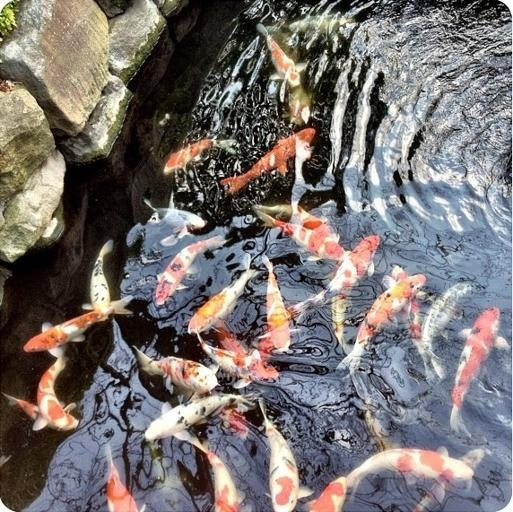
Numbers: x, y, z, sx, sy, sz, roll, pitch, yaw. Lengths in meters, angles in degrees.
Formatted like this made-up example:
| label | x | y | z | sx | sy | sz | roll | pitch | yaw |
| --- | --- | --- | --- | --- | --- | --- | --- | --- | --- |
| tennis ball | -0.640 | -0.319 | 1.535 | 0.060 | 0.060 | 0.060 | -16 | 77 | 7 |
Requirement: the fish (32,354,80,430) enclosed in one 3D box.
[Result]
| label | x | y | z | sx | sy | sz | roll | pitch | yaw |
| --- | --- | --- | --- | --- | --- | --- | --- | --- | --- |
| fish | -1.869 | 1.313 | 6.554 | 0.356 | 0.252 | 0.740 | 4 | 34 | -36 |

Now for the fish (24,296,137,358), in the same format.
| label | x | y | z | sx | sy | sz | roll | pitch | yaw |
| --- | --- | --- | --- | --- | --- | --- | --- | --- | --- |
| fish | -1.639 | 0.653 | 6.808 | 1.032 | 0.307 | 0.383 | -24 | 56 | -21 |

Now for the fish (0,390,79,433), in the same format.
| label | x | y | z | sx | sy | sz | roll | pitch | yaw |
| --- | --- | --- | --- | --- | --- | --- | --- | --- | --- |
| fish | -1.895 | 1.402 | 6.456 | 0.650 | 0.229 | 0.258 | -5 | 48 | 15 |

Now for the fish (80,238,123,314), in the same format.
| label | x | y | z | sx | sy | sz | roll | pitch | yaw |
| --- | --- | --- | --- | --- | --- | --- | --- | --- | --- |
| fish | -1.541 | 0.204 | 7.108 | 0.223 | 0.220 | 0.650 | 1 | 67 | -7 |
